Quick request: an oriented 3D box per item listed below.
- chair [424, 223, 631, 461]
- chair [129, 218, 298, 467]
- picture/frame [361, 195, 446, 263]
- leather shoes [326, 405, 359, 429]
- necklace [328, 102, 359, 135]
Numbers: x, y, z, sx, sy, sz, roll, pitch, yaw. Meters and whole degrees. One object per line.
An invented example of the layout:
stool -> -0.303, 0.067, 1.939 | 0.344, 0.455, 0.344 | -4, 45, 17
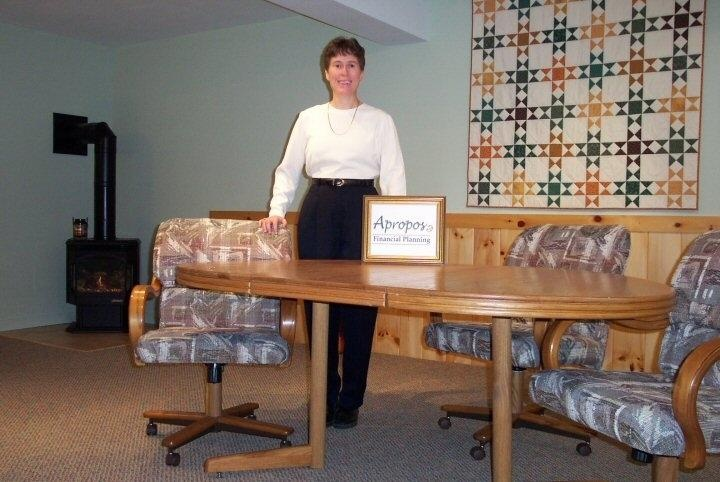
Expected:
chair -> 0.904, 0.499, 3.169 | 0.958, 1.108, 0.957 | -1, 3, -14
chair -> -0.770, 0.489, 3.125 | 0.841, 1.119, 0.765 | 2, 3, -21
picture/frame -> 0.221, -0.050, 2.899 | 0.331, 0.280, 0.034 | 0, -12, 8
leather shoes -> -0.099, 1.005, 3.308 | 0.083, 0.076, 0.182 | -4, -15, 37
necklace -> -0.090, -0.675, 3.263 | 0.189, 0.233, 0.019 | 3, -19, 2
